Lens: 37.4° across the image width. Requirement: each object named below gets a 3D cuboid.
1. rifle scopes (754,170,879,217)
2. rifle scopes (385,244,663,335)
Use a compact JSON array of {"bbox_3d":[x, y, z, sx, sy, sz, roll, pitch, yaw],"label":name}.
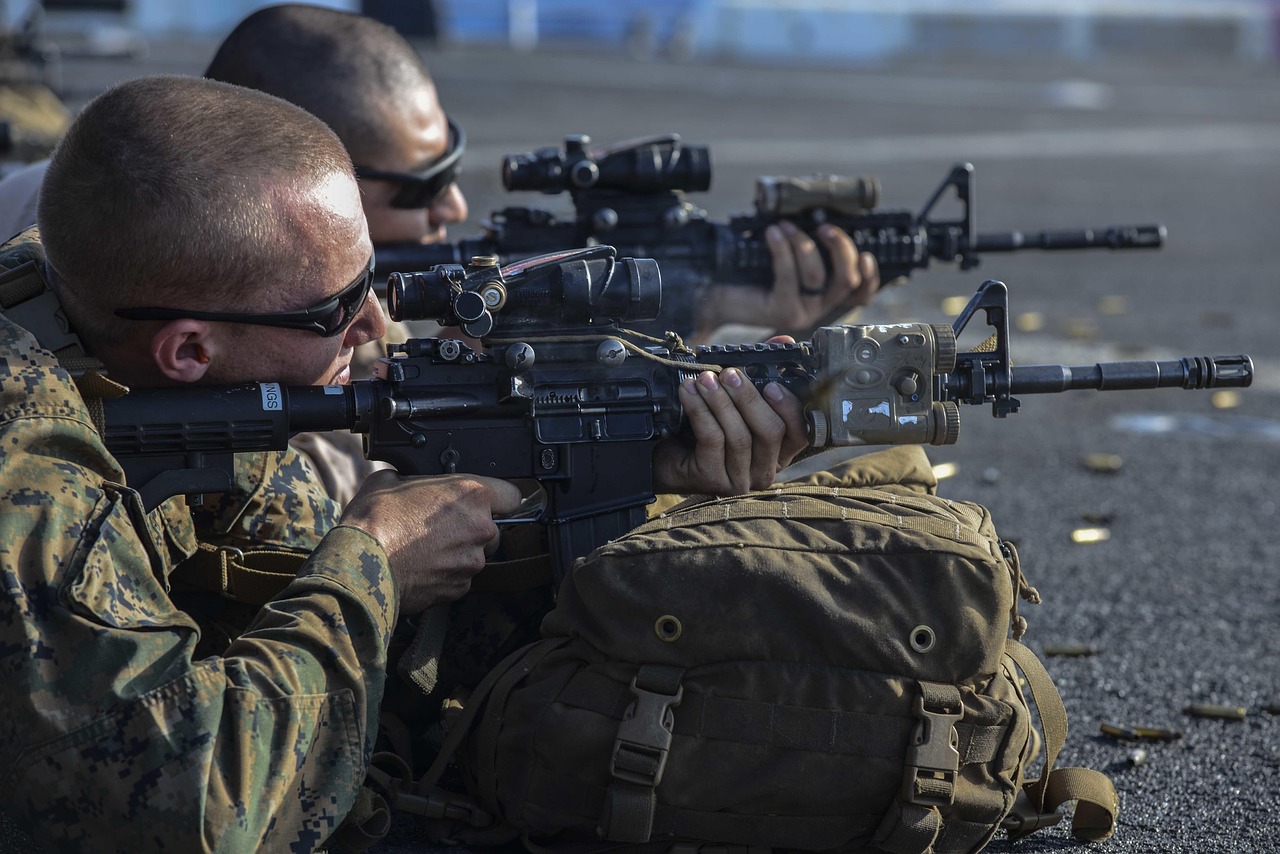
[{"bbox_3d":[0.730,-0.959,8.004,0.525,0.202,0.201,-1,-5,-7],"label":"rifle scopes"},{"bbox_3d":[-0.388,-0.530,6.546,1.158,0.445,0.345,-2,11,-14],"label":"rifle scopes"}]
